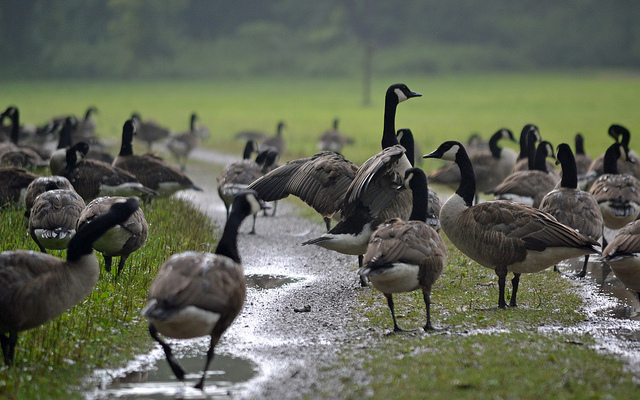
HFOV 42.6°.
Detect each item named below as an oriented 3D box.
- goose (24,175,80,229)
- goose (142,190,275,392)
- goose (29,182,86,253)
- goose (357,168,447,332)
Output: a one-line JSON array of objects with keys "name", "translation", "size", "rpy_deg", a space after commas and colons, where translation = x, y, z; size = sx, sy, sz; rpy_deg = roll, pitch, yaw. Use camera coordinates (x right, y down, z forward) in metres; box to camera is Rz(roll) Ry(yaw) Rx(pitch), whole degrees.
[{"name": "goose", "translation": [-7.409, 0.129, 22.663], "size": [0.883, 1.525, 2.528], "rpy_deg": [1, 0, -10]}, {"name": "goose", "translation": [-3.033, 2.291, 20.172], "size": [2.387, 4.607, 1.713], "rpy_deg": [0, 8, -6]}, {"name": "goose", "translation": [-7.337, 0.431, 22.885], "size": [1.490, 1.974, 3.056], "rpy_deg": [4, 4, -18]}, {"name": "goose", "translation": [2.072, 1.316, 20.989], "size": [2.173, 4.133, 1.463], "rpy_deg": [-2, 9, -19]}]
